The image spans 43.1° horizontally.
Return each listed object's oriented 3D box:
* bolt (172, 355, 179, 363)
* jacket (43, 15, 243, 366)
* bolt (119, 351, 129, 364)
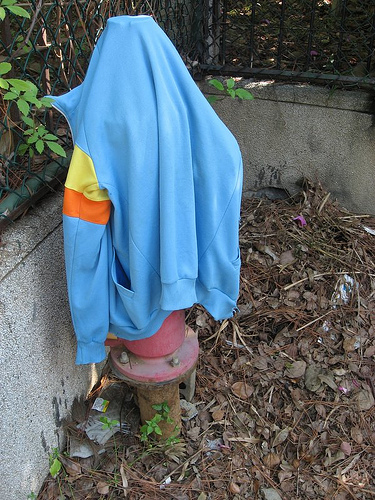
[{"bbox_3d":[-0.050,0.433,1.913,0.015,0.018,0.020,-1,19,-3],"label":"bolt"},{"bbox_3d":[-0.109,-0.109,1.496,0.552,1.129,0.259,4,26,8],"label":"jacket"},{"bbox_3d":[-0.250,0.429,1.904,0.036,0.016,0.041,-6,57,-16],"label":"bolt"}]
